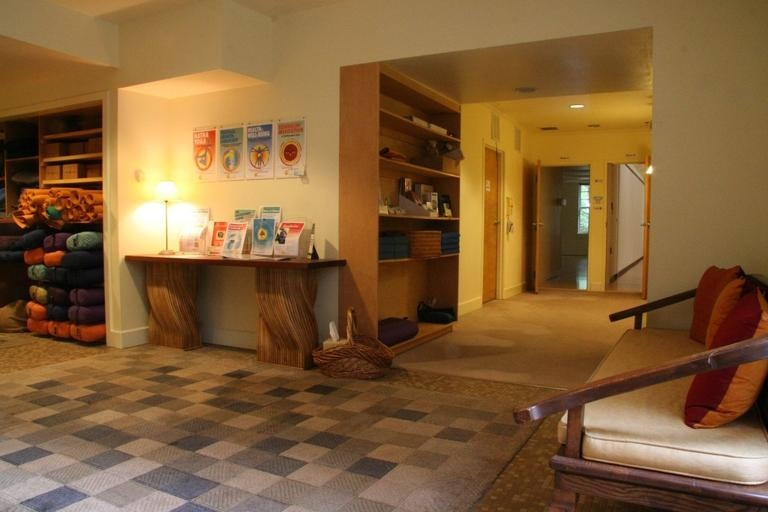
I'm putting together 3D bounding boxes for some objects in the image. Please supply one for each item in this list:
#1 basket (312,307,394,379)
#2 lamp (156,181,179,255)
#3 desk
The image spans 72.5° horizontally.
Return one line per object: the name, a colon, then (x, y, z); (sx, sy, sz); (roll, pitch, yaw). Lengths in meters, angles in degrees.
basket: (-0.296, 0.827, 5.017); (0.827, 0.529, 0.525); (3, 8, 13)
lamp: (-2.453, -0.450, 5.972); (0.214, 0.791, 0.424); (-4, 11, -22)
desk: (-1.675, 0.571, 5.604); (2.409, 1.005, 0.675); (3, -4, 24)
